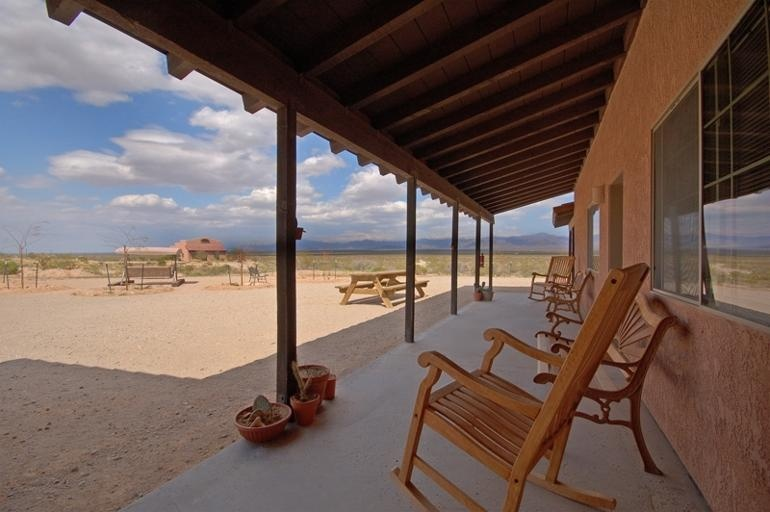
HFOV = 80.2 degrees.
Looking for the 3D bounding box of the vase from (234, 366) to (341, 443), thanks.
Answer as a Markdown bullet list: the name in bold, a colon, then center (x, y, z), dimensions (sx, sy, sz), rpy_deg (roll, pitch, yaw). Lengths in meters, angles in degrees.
- **vase**: center (-0.930, 1.404, 4.307), dimensions (0.525, 0.373, 0.886), rpy_deg (3, 7, 27)
